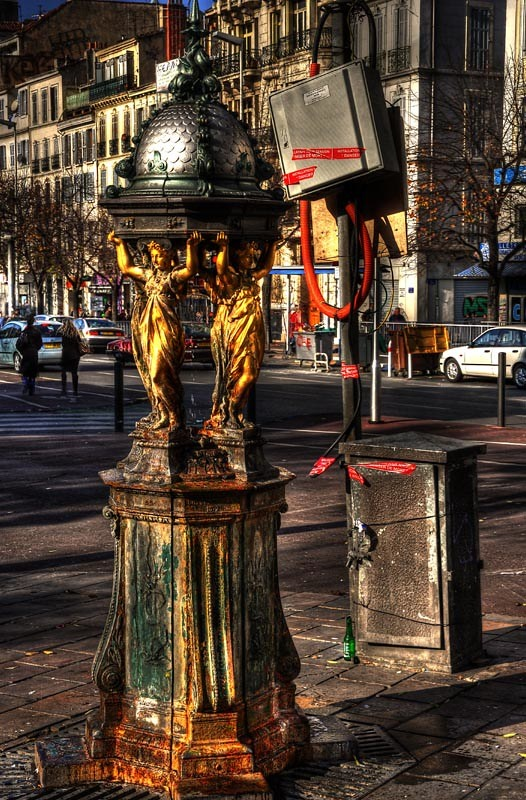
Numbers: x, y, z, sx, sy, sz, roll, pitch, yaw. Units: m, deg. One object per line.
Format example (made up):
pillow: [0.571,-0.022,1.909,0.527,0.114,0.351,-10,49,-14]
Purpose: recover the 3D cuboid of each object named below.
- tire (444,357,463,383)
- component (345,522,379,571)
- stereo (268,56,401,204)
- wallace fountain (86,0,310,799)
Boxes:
tire: [5.160,-0.829,30.392,0.226,0.703,0.651,-2,0,-20]
component: [0.496,0.736,5.700,0.183,0.253,0.046,3,5,42]
stereo: [0.339,-1.322,5.602,0.521,0.563,0.267,-13,-5,28]
wallace fountain: [-0.242,-0.043,4.113,0.838,2.867,0.792,-1,3,-10]
